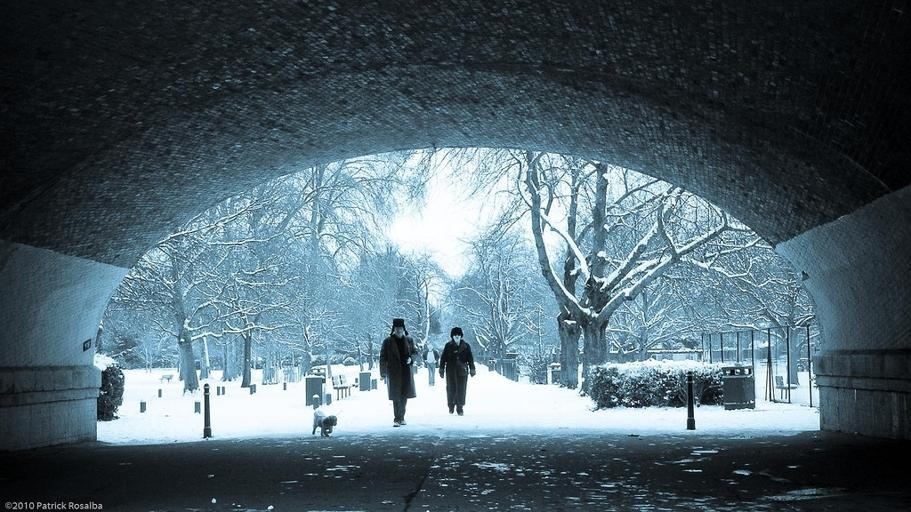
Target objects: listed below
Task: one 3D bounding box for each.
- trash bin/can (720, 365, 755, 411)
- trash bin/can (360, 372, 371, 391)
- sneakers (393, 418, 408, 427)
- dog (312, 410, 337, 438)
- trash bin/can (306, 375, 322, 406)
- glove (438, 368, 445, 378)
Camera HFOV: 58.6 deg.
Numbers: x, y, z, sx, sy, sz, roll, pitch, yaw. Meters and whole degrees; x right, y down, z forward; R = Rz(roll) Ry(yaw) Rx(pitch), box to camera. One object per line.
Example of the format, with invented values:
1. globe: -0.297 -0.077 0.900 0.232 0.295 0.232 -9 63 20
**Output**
1. trash bin/can: 8.126 3.764 23.357 1.143 1.180 0.731 4 -7 -42
2. trash bin/can: -4.165 5.874 38.099 0.440 0.824 0.873 0 -5 -11
3. sneakers: -1.390 4.274 20.831 0.423 0.210 0.135 -3 -3 -14
4. dog: -3.146 4.026 19.687 0.522 0.576 1.447 0 -5 -11
5. trash bin/can: -4.909 4.750 28.842 0.564 0.996 0.592 0 -5 -10
6. glove: -0.342 3.303 23.197 0.111 0.260 0.477 0 -5 -9
